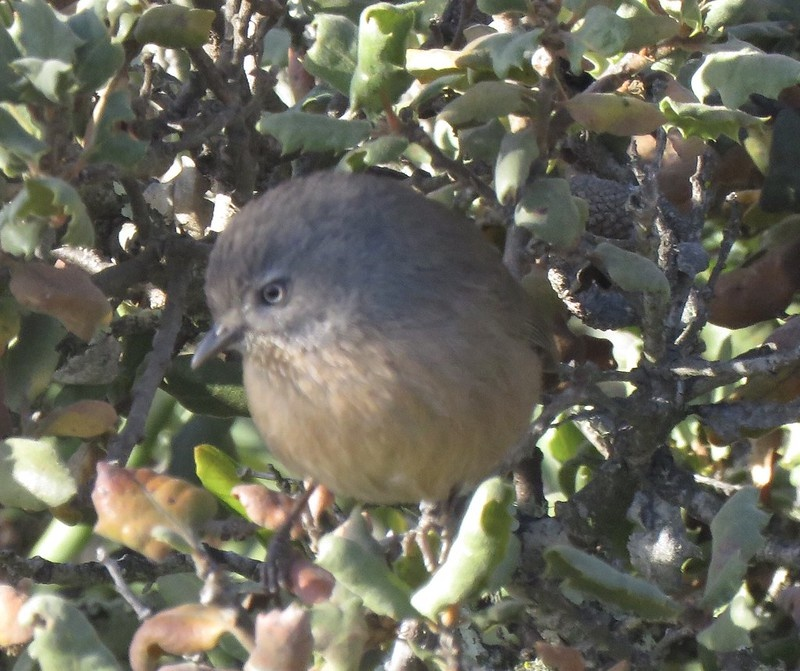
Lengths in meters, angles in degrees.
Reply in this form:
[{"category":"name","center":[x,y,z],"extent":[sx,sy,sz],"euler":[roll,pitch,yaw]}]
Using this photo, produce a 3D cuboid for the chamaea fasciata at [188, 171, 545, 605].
[{"category":"chamaea fasciata","center":[-0.043,0.012,2.432],"extent":[0.589,0.768,0.859],"euler":[-2,23,36]}]
